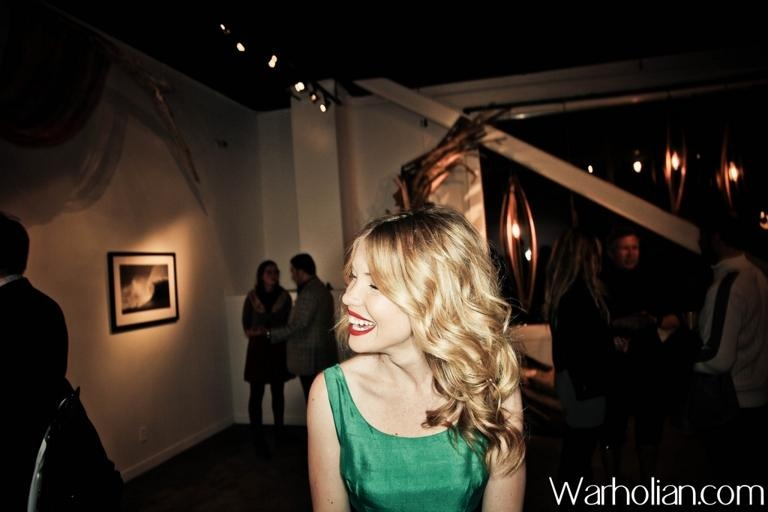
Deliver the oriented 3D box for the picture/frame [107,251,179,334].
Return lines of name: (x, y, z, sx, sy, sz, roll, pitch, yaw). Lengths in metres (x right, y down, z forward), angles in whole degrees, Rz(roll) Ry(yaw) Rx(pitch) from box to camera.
picture/frame: (-1.567, 0.235, 3.716, 0.520, 0.628, 0.026, -3, -1, -41)

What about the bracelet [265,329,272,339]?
bracelet: (-0.806, 0.539, 4.021, 0.052, 0.052, 0.017, -24, -12, 23)
